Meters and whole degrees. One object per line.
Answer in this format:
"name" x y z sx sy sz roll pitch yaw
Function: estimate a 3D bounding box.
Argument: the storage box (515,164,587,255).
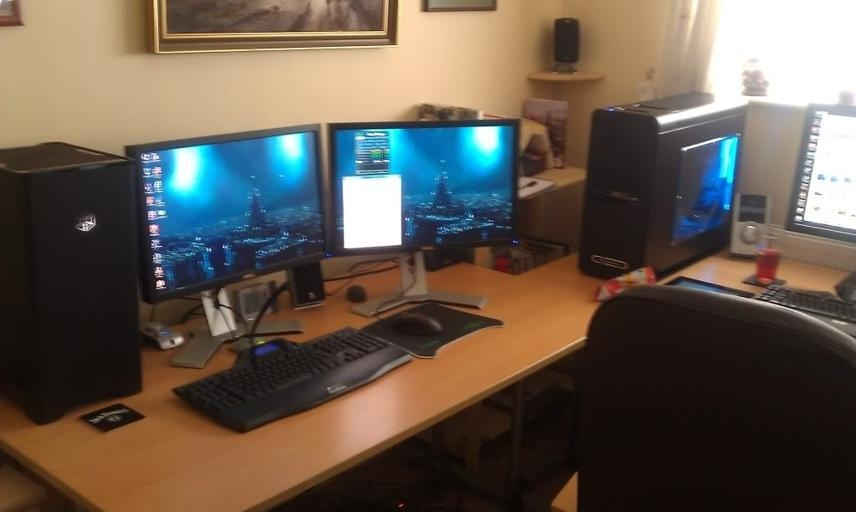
"storage box" 0.647 -0.252 3.294 0.259 0.399 0.470 -13 21 -27

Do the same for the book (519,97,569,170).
"book" 0.601 -0.647 3.311 0.229 0.331 0.155 4 27 14

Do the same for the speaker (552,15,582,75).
"speaker" 0.767 -1.175 3.504 0.153 0.282 0.246 3 26 13

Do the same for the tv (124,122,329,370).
"tv" -0.696 -0.039 2.149 0.310 0.749 0.787 17 23 38

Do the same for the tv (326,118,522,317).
"tv" -0.021 -0.156 2.426 0.703 0.691 0.448 -16 25 -39
